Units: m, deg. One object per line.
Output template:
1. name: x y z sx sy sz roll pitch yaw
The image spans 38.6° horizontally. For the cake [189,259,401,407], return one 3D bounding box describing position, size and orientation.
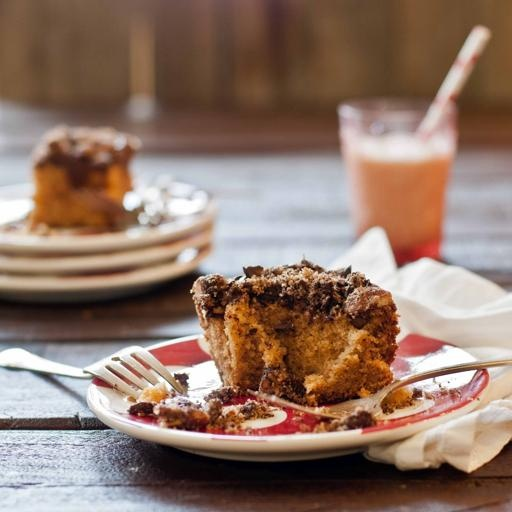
1. cake: 0.066 0.093 0.978 0.316 0.123 0.216 4 6 22
